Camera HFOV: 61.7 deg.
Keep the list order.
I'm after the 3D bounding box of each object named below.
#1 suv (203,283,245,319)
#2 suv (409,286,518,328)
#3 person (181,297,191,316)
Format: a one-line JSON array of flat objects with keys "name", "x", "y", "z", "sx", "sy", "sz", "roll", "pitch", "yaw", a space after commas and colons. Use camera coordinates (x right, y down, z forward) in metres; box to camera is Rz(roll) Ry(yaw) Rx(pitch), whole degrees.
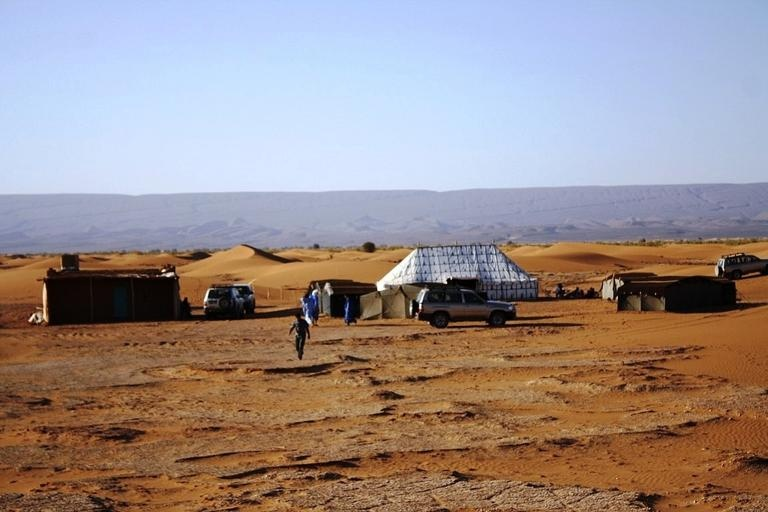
[{"name": "suv", "x": -8.488, "y": 2.455, "z": 34.077, "sx": 1.582, "sy": 1.729, "sz": 1.948, "roll": -1, "pitch": 5, "yaw": 5}, {"name": "suv", "x": 3.331, "y": 2.137, "z": 27.787, "sx": 4.485, "sy": 1.253, "sz": 1.658, "roll": -1, "pitch": 2, "yaw": -5}, {"name": "person", "x": -10.729, "y": 2.700, "z": 34.713, "sx": 0.451, "sy": 1.098, "sz": 1.526, "roll": -4, "pitch": 5, "yaw": -16}]
